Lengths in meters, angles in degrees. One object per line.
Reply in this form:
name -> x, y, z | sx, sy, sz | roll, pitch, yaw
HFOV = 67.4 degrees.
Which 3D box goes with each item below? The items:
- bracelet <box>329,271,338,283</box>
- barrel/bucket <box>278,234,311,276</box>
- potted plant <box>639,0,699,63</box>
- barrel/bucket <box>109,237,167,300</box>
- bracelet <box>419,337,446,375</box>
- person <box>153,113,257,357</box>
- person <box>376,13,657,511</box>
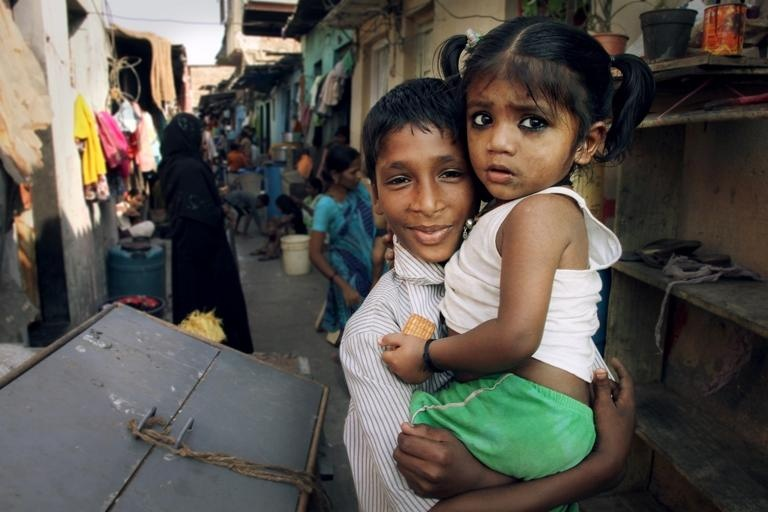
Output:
bracelet -> -0.447, 0.191, 5.016 | 0.075, 0.076, 0.076 | -2, 3, -22
barrel/bucket -> -1.277, -0.012, 8.692 | 0.595, 0.585, 0.592 | -1, 12, 0
potted plant -> 1.740, -1.351, 3.626 | 0.375, 0.282, 0.377 | -1, 7, 0
barrel/bucket -> -2.784, 0.115, 6.532 | 0.706, 0.764, 0.721 | 1, 7, 0
bracelet -> 0.164, 0.349, 2.065 | 0.077, 0.124, 0.119 | -14, -23, 30
person -> -1.652, -0.200, 5.252 | 0.703, 2.115, 0.578 | 1, 20, -12
person -> 0.468, 0.092, 2.134 | 0.946, 1.851, 0.658 | 1, 18, 4
